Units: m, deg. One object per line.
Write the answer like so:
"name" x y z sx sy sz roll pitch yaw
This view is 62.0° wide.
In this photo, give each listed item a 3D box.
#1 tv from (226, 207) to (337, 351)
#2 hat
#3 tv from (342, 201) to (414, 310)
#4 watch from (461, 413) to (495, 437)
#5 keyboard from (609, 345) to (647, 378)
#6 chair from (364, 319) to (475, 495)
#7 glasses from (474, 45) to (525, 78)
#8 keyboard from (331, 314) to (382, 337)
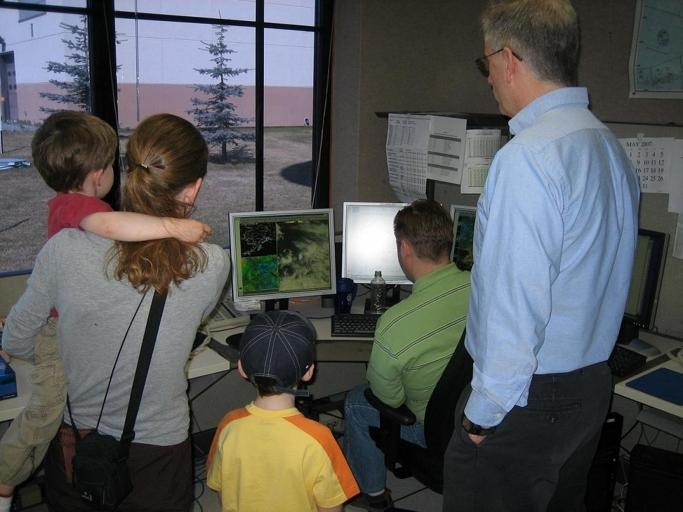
"tv" -0.290 0.091 2.686 0.679 0.684 0.242 -3 7 -19
"hat" -0.200 0.265 1.868 0.247 0.164 0.326 1 41 -3
"tv" 0.198 -0.071 3.127 0.393 0.461 0.039 1 -17 -2
"watch" 0.401 0.503 1.711 0.065 0.027 0.074 3 -2 31
"keyboard" 1.230 0.462 2.459 0.167 0.054 0.222 10 27 32
"chair" 0.245 0.700 2.436 0.432 0.778 0.471 9 1 2
"glasses" 0.477 -0.628 1.846 0.123 0.038 0.128 -11 35 -8
"keyboard" 0.068 0.343 2.838 0.174 0.030 0.123 -1 24 -1
